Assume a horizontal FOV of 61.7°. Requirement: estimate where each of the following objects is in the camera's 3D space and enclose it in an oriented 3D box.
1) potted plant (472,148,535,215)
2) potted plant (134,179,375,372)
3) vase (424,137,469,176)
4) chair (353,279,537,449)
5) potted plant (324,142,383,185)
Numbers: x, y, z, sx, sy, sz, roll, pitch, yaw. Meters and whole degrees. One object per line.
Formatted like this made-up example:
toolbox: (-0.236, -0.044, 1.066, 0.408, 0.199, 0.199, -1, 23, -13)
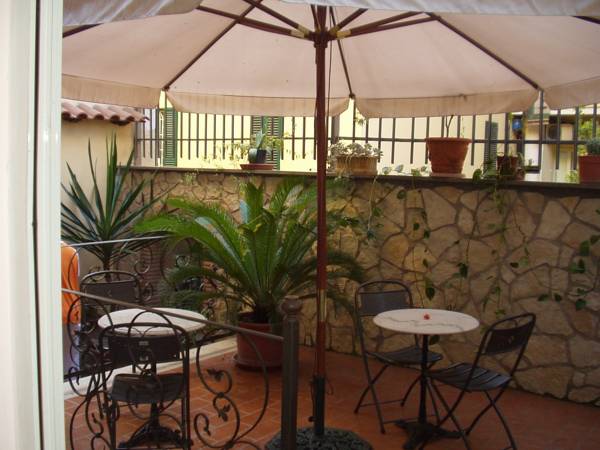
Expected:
potted plant: (1.695, -0.397, 4.405, 0.524, 0.368, 0.517, 8, -19, -16)
potted plant: (-0.446, 0.394, 5.183, 1.864, 1.383, 1.851, 1, -3, -4)
vase: (1.400, -0.644, 4.787, 0.451, 0.344, 0.437, -3, 7, -40)
chair: (1.009, 0.985, 3.885, 0.793, 1.249, 1.743, -2, 2, -31)
potted plant: (0.568, -0.626, 5.110, 0.445, 0.305, 0.451, 0, 7, -3)
